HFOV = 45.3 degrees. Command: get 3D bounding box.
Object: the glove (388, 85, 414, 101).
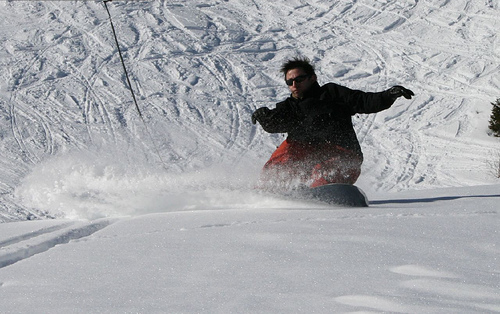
[{"bbox_3d":[2.089,-0.883,8.286,0.296,0.123,0.179,-2,-8,-28],"label":"glove"}]
